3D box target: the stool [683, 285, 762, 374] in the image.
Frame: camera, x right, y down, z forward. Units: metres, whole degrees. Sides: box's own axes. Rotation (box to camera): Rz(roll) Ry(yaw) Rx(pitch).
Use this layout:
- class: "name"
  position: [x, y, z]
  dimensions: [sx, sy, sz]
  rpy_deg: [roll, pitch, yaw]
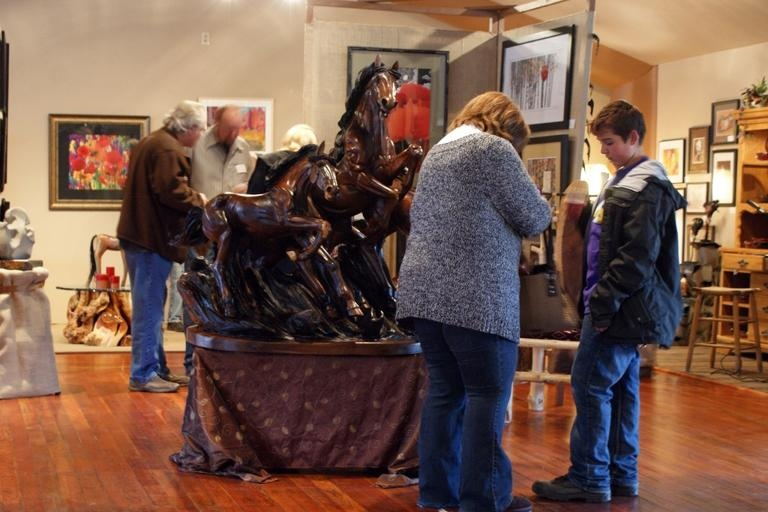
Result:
- class: "stool"
  position: [3.916, 0.841, 7.637]
  dimensions: [0.868, 1.223, 0.802]
  rpy_deg: [-4, 6, -39]

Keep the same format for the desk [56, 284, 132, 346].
- class: "desk"
  position: [-3.192, 0.669, 7.795]
  dimensions: [0.940, 0.575, 0.903]
  rpy_deg: [3, 15, -39]

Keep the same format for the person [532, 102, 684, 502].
- class: "person"
  position: [1.306, 0.247, 3.669]
  dimensions: [0.705, 2.085, 0.392]
  rpy_deg: [1, 0, -16]

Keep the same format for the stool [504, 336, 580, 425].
- class: "stool"
  position: [1.211, 0.905, 5.162]
  dimensions: [0.667, 0.545, 0.677]
  rpy_deg: [0, 3, 10]

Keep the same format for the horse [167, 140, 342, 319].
- class: "horse"
  position: [-0.824, -0.165, 4.251]
  dimensions: [1.388, 1.371, 0.453]
  rpy_deg: [2, -11, 21]

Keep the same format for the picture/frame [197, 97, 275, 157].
- class: "picture/frame"
  position: [-1.999, -1.782, 9.096]
  dimensions: [1.001, 0.751, 0.031]
  rpy_deg: [-4, 25, -19]
